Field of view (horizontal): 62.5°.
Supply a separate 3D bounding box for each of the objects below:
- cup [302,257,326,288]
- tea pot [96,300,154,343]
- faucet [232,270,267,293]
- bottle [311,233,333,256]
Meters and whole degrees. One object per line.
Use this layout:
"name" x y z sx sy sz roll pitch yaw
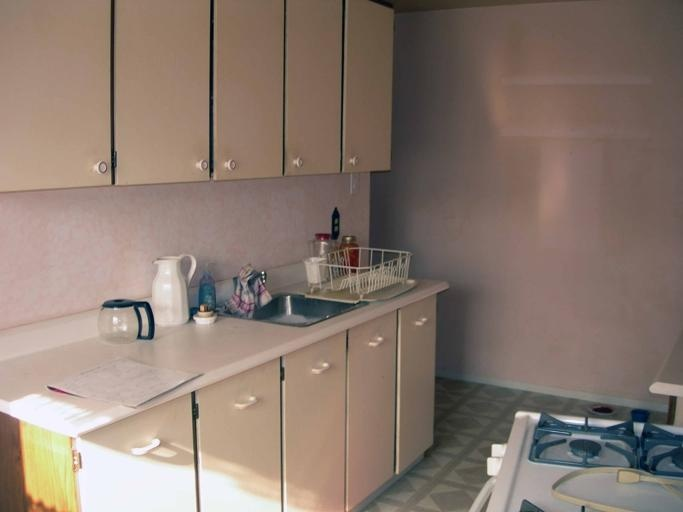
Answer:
"cup" -0.141 0.079 3.065 0.158 0.191 0.140 4 5 40
"tea pot" -0.821 0.251 2.152 0.203 0.154 0.158 1 8 4
"faucet" -0.423 0.123 2.808 0.099 0.104 0.036 -2 4 25
"bottle" -0.112 -0.067 3.239 0.089 0.153 0.085 0 22 0
